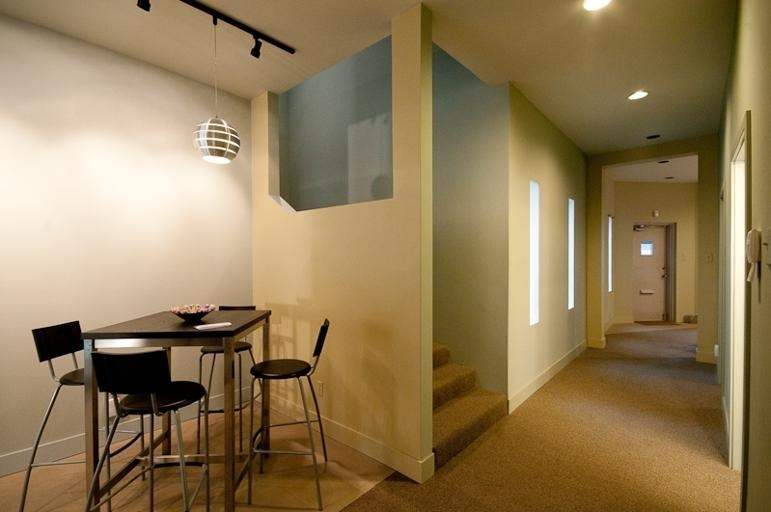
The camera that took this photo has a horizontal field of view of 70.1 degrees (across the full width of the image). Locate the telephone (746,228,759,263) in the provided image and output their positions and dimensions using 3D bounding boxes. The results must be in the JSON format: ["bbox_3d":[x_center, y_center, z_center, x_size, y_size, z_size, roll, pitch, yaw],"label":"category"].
[{"bbox_3d":[3.033,-0.086,4.546,0.072,0.278,0.199,2,1,17],"label":"telephone"}]

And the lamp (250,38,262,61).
[{"bbox_3d":[-1.362,-2.179,5.767,0.123,0.232,0.121,11,18,20],"label":"lamp"}]

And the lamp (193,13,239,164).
[{"bbox_3d":[-1.805,-1.674,5.986,0.429,1.403,1.301,-1,3,-14],"label":"lamp"}]
